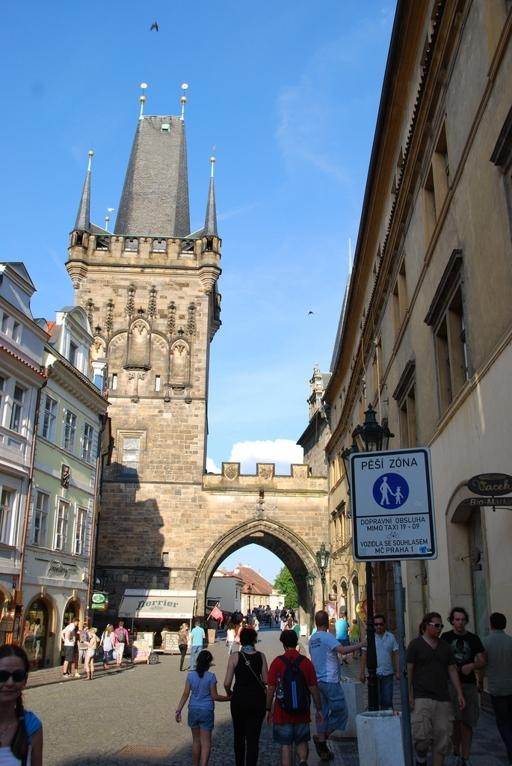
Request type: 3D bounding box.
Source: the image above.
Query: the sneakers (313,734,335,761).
[{"bbox_3d":[0.769,4.151,6.196,0.144,0.201,0.446,12,-24,16],"label":"sneakers"}]

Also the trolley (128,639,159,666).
[{"bbox_3d":[-5.009,11.819,23.840,1.008,0.956,0.798,3,-25,0],"label":"trolley"}]
